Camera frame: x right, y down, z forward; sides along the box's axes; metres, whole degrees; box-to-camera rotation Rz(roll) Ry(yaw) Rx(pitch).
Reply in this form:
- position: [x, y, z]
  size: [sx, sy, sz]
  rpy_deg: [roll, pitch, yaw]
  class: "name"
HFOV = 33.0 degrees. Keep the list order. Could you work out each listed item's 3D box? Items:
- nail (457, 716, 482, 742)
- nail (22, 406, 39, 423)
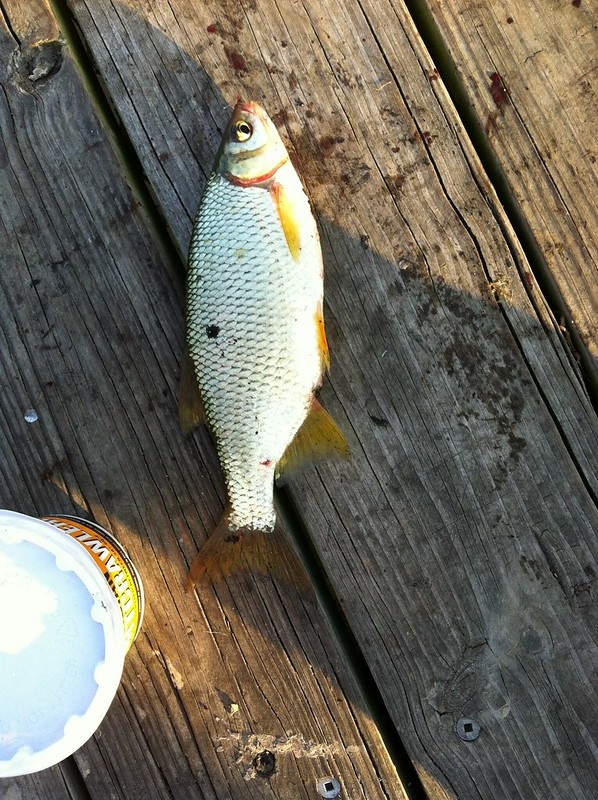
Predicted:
- position: [0.364, 0.711, 2.168]
  size: [0.053, 0.015, 0.046]
  rpy_deg: [10, 76, -6]
  class: "nail"
- position: [-0.589, 0.038, 2.208]
  size: [0.031, 0.007, 0.029]
  rpy_deg: [43, 75, 3]
  class: "nail"
